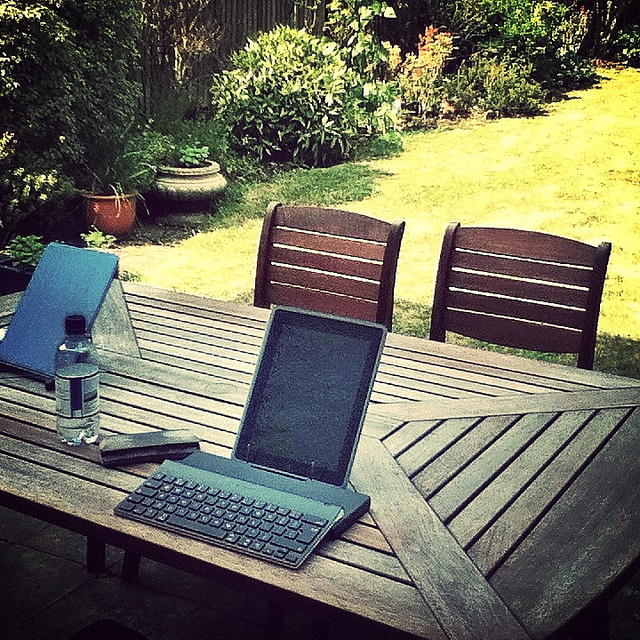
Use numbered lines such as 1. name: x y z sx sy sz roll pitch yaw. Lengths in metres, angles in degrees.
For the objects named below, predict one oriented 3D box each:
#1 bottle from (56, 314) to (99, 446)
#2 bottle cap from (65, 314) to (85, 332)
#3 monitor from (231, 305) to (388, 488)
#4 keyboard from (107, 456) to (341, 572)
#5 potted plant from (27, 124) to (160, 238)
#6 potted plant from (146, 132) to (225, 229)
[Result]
1. bottle: -0.475 0.125 1.371 0.079 0.191 0.177 -4 20 -19
2. bottle cap: -0.462 0.006 1.322 0.029 0.024 0.031 7 7 23
3. monitor: -0.022 0.130 1.284 0.232 0.249 0.171 10 20 20
4. keyboard: -0.158 0.298 1.158 0.376 0.040 0.202 11 21 20
5. potted plant: -1.754 -1.156 5.804 0.628 0.937 0.947 0 6 -10
6. potted plant: -1.284 -1.337 6.806 0.831 0.783 0.891 2 16 2
